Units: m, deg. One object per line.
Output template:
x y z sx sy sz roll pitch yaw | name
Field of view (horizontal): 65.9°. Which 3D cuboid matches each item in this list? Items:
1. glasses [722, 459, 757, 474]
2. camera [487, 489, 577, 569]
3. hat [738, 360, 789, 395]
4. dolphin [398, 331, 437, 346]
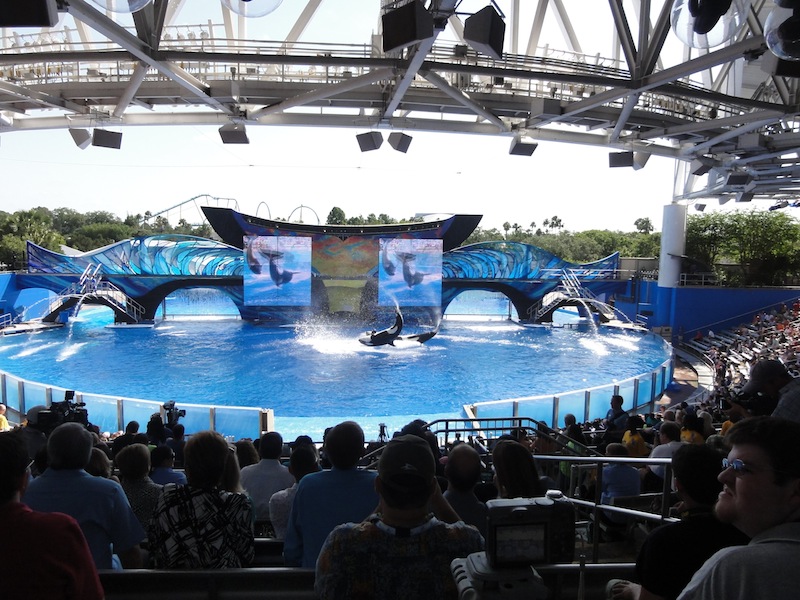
1.579 0.762 2.826 0.106 0.031 0.097 7 -5 -8 | glasses
0.593 1.101 2.940 0.472 0.310 0.248 4 -8 -21 | camera
3.304 0.688 5.539 0.357 0.281 0.427 2 5 30 | hat
0.628 1.848 28.886 2.151 0.503 0.667 -6 -4 40 | dolphin
